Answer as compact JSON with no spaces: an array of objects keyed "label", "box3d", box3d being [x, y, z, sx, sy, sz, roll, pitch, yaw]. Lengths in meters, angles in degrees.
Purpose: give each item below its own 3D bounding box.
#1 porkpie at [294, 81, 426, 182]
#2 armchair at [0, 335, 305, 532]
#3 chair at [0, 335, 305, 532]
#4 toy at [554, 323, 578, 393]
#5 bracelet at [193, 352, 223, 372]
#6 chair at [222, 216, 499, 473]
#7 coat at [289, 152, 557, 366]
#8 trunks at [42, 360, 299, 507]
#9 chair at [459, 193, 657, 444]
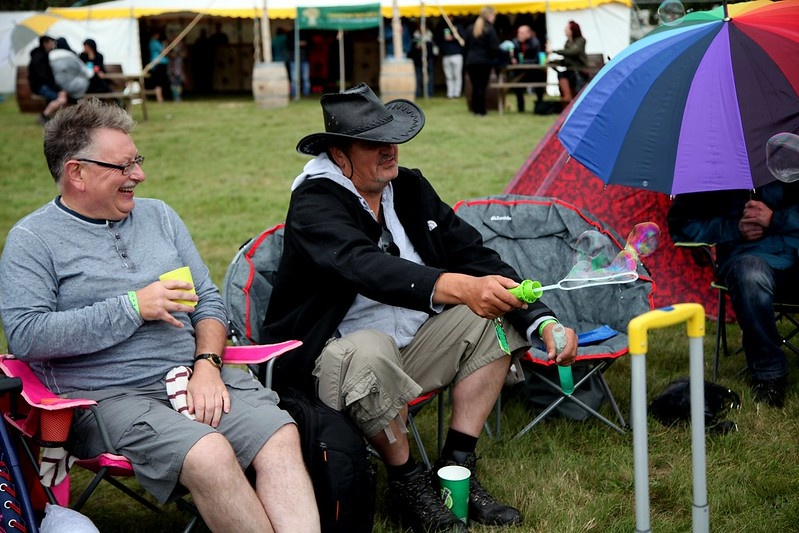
[{"label":"porkpie","box3d":[-0.197,-0.779,5.336,0.509,0.224,0.448,-14,14,28]},{"label":"armchair","box3d":[-1.246,0.718,5.039,0.907,1.312,1.098,-5,-6,38]},{"label":"chair","box3d":[-1.251,0.643,5.039,0.907,1.312,1.098,-5,-6,38]},{"label":"toy","box3d":[0.916,0.507,5.354,0.135,0.542,0.114,-16,41,-3]},{"label":"bracelet","box3d":[-1.006,0.500,5.133,0.126,0.082,0.130,-34,-46,28]},{"label":"chair","box3d":[-0.267,0.420,5.847,1.247,1.601,1.433,2,4,39]},{"label":"coat","box3d":[0.054,-0.086,5.315,1.325,0.962,1.008,7,13,38]},{"label":"trunks","box3d":[-1.118,0.849,4.955,1.071,0.479,0.549,-8,12,-22]},{"label":"chair","box3d":[1.047,0.181,6.331,1.342,1.531,1.398,-4,12,-13]}]
